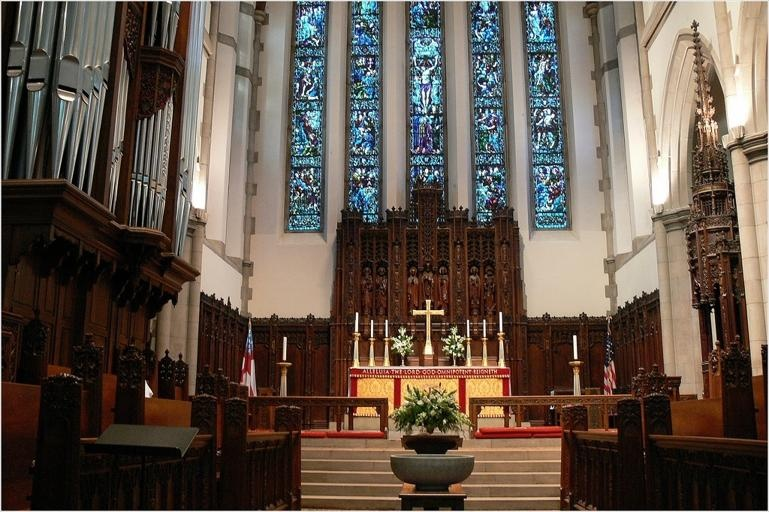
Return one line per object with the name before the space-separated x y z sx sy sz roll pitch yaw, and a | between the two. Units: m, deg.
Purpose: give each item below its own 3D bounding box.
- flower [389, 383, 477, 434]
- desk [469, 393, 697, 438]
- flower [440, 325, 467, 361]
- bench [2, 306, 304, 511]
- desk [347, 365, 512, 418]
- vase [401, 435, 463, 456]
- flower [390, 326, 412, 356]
flower | 0.599 2.216 10.542 0.806 0.682 0.909 -7 -10 19
desk | 3.661 3.424 15.125 3.805 0.950 0.595 -3 2 6
flower | 1.844 2.355 19.018 0.513 0.843 0.587 -14 14 -17
bench | -2.769 1.744 7.710 2.276 1.541 2.407 -1 -7 6
desk | 1.074 3.162 17.454 3.756 1.342 1.188 0 5 -1
vase | 0.624 2.509 9.686 0.711 0.253 0.391 0 -14 -4
flower | 0.461 2.217 19.105 0.661 0.826 0.728 0 -15 0
